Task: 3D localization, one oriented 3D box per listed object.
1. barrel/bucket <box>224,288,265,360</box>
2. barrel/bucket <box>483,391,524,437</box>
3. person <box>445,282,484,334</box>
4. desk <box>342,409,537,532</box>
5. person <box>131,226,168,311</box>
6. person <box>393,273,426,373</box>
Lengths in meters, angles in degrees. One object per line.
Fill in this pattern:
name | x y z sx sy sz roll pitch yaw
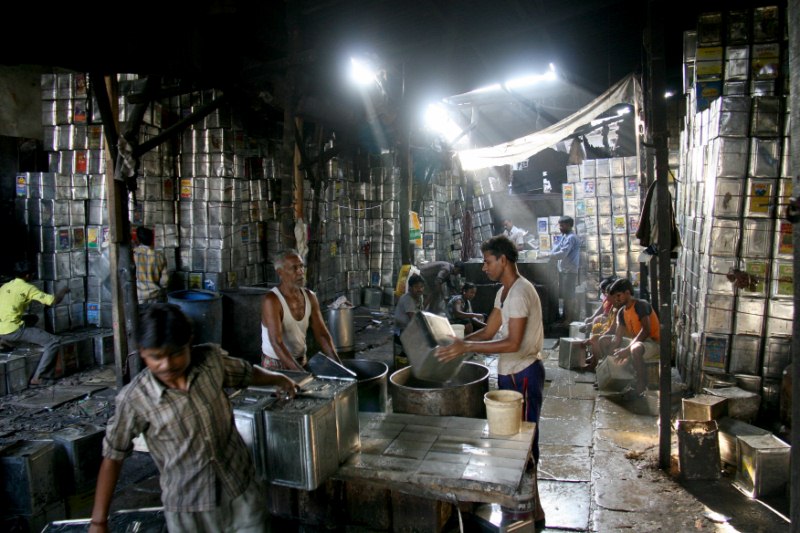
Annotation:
barrel/bucket | -2.731 1.051 11.129 0.998 1.077 0.963 1 -2 0
barrel/bucket | 1.055 1.446 6.172 0.403 0.387 0.429 -2 8 0
person | 1.256 0.858 11.271 0.687 1.149 0.590 -1 -3 19
desk | 0.399 1.943 6.075 1.774 0.426 1.257 1 19 24
person | -4.306 -0.050 10.577 0.501 1.098 0.444 -6 4 -23
person | 0.120 0.860 9.828 0.566 1.474 1.268 -4 3 3
